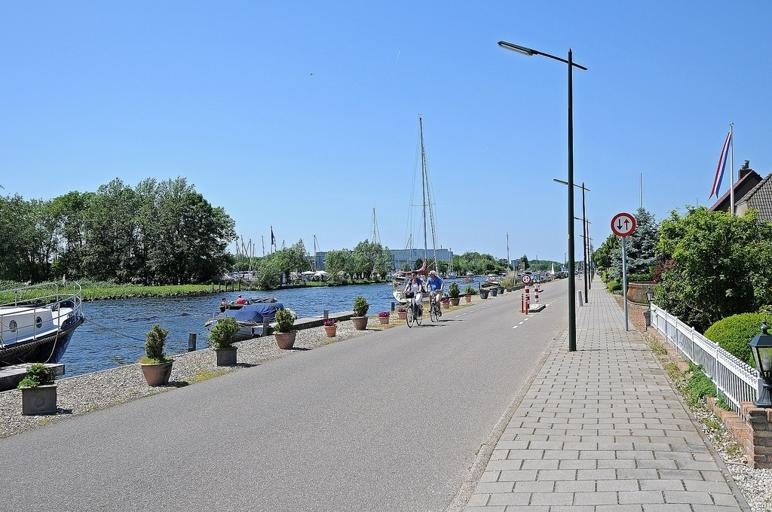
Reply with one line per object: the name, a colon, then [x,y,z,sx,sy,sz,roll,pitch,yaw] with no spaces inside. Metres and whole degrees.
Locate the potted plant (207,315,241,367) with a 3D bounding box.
potted plant: [-5.336,2.854,19.184,0.852,1.485,1.509,-2,0,-17]

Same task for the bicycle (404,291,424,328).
bicycle: [1.484,2.873,30.180,0.790,1.316,2.304,-2,0,1]

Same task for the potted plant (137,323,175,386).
potted plant: [-6.505,2.789,16.435,0.798,1.757,1.308,-2,1,-24]

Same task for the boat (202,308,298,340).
boat: [-6.425,3.291,27.881,2.308,1.262,4.272,0,5,26]

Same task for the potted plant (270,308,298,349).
potted plant: [-4.143,2.911,22.776,1.274,1.908,1.298,0,-7,-1]
